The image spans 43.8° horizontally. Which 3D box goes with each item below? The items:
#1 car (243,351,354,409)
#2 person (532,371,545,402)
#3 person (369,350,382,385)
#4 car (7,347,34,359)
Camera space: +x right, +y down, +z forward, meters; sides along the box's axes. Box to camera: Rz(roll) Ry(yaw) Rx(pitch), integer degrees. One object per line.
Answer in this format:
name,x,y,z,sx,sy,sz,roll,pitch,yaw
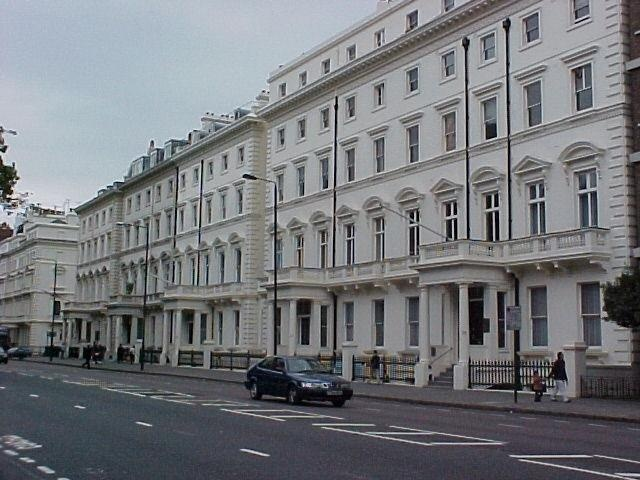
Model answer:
car,-0.879,5.631,31.718,1.699,2.110,4.411,11,-17,-40
person,9.218,6.157,33.615,0.398,1.437,2.323,-4,-14,15
person,3.095,7.065,44.388,0.594,1.777,1.074,-1,-13,4
car,-34.610,13.070,91.578,2.107,1.548,5.322,4,-14,-17
